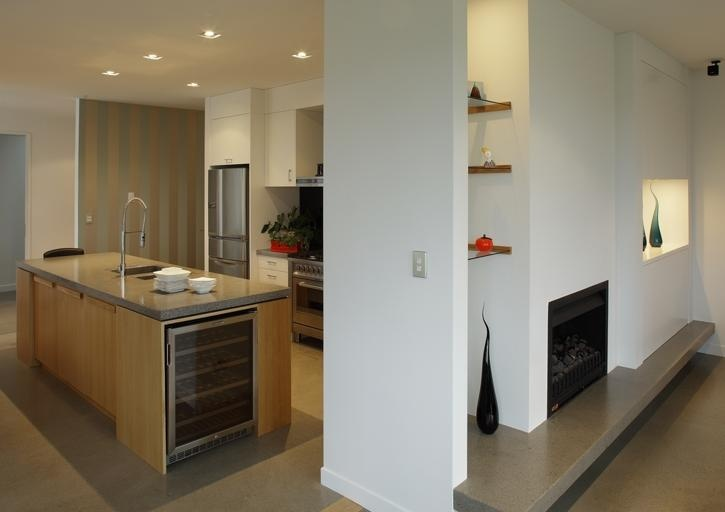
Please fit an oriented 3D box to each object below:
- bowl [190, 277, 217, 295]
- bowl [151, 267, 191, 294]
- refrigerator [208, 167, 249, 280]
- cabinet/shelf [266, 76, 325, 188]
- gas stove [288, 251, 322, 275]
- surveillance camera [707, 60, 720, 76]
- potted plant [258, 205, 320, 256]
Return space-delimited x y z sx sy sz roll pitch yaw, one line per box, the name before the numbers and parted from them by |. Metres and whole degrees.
bowl | -1.245 0.212 4.065 0.148 0.089 0.155 -2 4 0
bowl | -1.583 0.195 4.143 0.245 0.137 0.210 1 2 44
refrigerator | -1.798 -0.506 6.911 0.328 1.489 0.882 -12 18 -41
cabinet/shelf | -0.877 -1.624 6.822 0.997 1.345 0.864 1 23 -3
gas stove | -0.625 0.097 6.139 0.581 0.225 0.246 13 19 40
surveillance camera | 3.609 -1.954 5.251 0.091 0.178 0.097 -9 13 -42
potted plant | -0.860 -0.349 6.645 0.646 0.519 0.827 -11 18 -39
